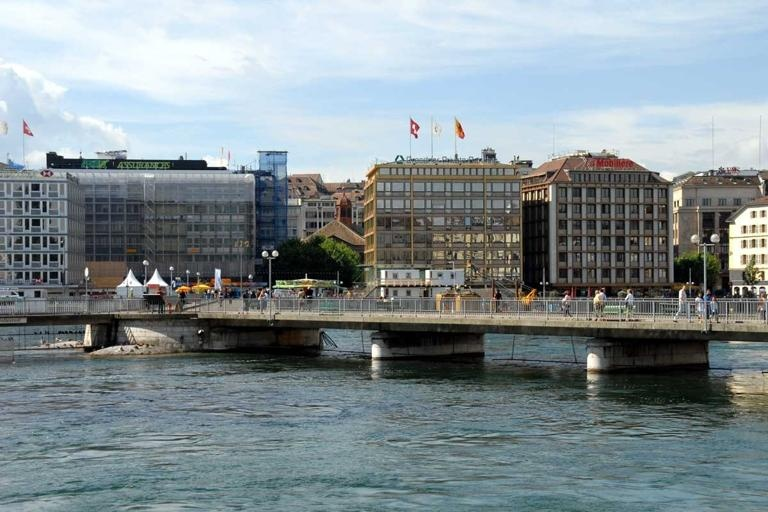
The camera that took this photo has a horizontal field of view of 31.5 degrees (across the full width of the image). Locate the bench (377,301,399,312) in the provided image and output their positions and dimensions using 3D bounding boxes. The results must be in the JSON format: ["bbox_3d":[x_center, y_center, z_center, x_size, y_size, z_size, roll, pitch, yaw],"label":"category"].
[{"bbox_3d":[0.339,4.243,113.729,1.308,1.023,0.301,-3,-16,16],"label":"bench"}]
